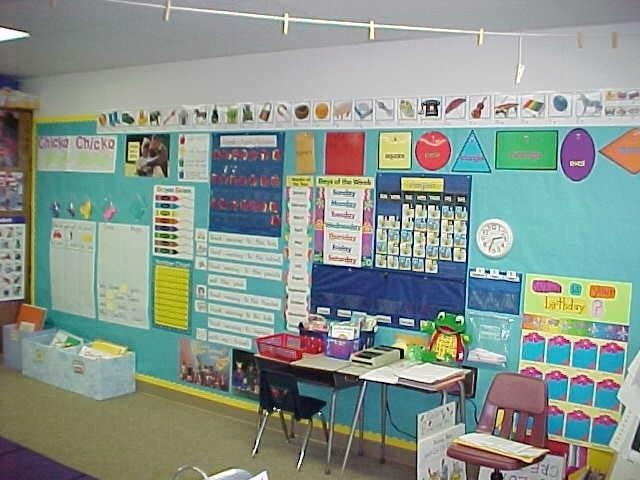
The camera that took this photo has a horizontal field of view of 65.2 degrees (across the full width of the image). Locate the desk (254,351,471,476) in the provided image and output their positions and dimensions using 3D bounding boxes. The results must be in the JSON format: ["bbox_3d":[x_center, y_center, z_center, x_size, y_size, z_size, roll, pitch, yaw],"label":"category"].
[{"bbox_3d":[0.372,1.364,3.935,0.963,0.486,0.382,2,3,36],"label":"desk"}]

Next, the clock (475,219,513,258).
[{"bbox_3d":[1.357,-0.014,3.848,0.290,0.324,0.063,0,2,23],"label":"clock"}]

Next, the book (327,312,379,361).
[{"bbox_3d":[0.277,0.808,4.195,0.282,0.285,0.389,1,1,43],"label":"book"}]

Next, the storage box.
[{"bbox_3d":[-2.733,1.407,5.632,1.353,0.512,0.469,4,7,21],"label":"storage box"}]

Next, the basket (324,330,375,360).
[{"bbox_3d":[0.269,0.853,4.188,0.209,0.136,0.323,2,2,31],"label":"basket"}]
